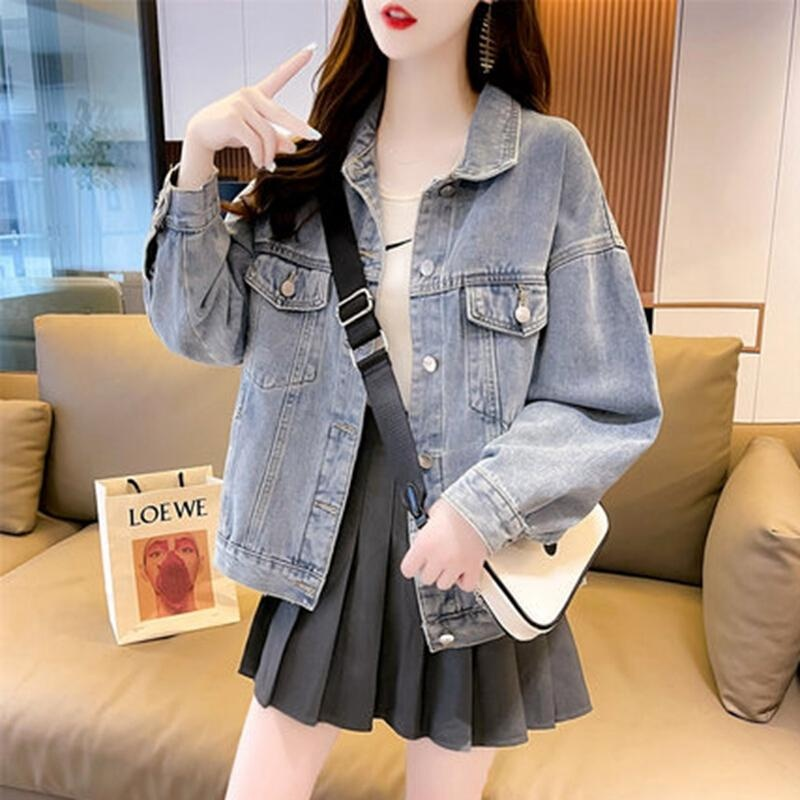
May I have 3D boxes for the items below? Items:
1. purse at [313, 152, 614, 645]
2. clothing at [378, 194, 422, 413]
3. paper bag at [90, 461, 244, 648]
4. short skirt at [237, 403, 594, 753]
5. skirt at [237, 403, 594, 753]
[{"bbox_3d":[0.051,0.056,0.903,0.103,0.598,0.303,-12,7,31],"label":"purse"},{"bbox_3d":[-0.004,-0.134,0.934,0.040,0.234,0.103,-1,4,-23],"label":"clothing"},{"bbox_3d":[-0.468,0.327,1.484,0.304,0.471,0.148,-4,6,-23],"label":"paper bag"},{"bbox_3d":[-0.009,0.129,1.153,0.477,0.730,0.386,2,-1,4],"label":"short skirt"},{"bbox_3d":[-0.022,0.128,1.151,0.477,0.730,0.386,2,-1,4],"label":"skirt"}]
